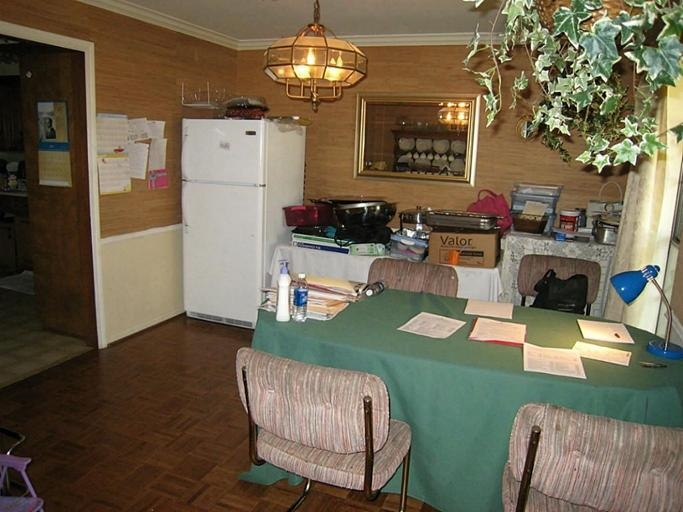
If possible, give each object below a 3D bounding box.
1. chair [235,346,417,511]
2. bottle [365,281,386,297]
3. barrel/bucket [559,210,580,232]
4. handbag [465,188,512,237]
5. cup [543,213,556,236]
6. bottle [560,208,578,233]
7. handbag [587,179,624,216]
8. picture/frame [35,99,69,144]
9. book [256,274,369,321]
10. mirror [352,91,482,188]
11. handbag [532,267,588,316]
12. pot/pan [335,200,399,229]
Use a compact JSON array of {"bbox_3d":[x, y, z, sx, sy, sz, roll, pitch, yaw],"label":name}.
[{"bbox_3d":[-0.037,0.758,2.185,0.641,0.945,0.562,9,33,19],"label":"chair"},{"bbox_3d":[0.215,0.215,3.156,0.055,0.054,0.172,-4,4,25],"label":"bottle"},{"bbox_3d":[1.961,-0.296,4.265,0.178,0.201,0.181,-1,2,0],"label":"barrel/bucket"},{"bbox_3d":[1.324,-0.373,4.381,0.441,0.247,0.583,-4,35,13],"label":"handbag"},{"bbox_3d":[1.875,-0.287,4.438,0.161,0.227,0.165,-2,8,0],"label":"cup"},{"bbox_3d":[1.963,-0.307,4.265,0.185,0.209,0.184,-3,2,-38],"label":"bottle"},{"bbox_3d":[2.336,-0.511,4.360,0.264,0.307,0.364,8,14,27],"label":"handbag"},{"bbox_3d":[-2.372,-1.110,4.058,0.336,0.347,0.026,10,11,23],"label":"picture/frame"},{"bbox_3d":[-0.144,0.248,2.914,0.389,0.134,0.398,7,11,30],"label":"book"},{"bbox_3d":[0.797,-1.181,4.907,0.964,0.676,0.037,5,12,17],"label":"mirror"},{"bbox_3d":[1.530,0.248,3.418,0.272,0.260,0.152,11,9,14],"label":"handbag"},{"bbox_3d":[0.220,-0.377,4.454,0.600,0.229,0.200,-4,14,-26],"label":"pot/pan"}]
